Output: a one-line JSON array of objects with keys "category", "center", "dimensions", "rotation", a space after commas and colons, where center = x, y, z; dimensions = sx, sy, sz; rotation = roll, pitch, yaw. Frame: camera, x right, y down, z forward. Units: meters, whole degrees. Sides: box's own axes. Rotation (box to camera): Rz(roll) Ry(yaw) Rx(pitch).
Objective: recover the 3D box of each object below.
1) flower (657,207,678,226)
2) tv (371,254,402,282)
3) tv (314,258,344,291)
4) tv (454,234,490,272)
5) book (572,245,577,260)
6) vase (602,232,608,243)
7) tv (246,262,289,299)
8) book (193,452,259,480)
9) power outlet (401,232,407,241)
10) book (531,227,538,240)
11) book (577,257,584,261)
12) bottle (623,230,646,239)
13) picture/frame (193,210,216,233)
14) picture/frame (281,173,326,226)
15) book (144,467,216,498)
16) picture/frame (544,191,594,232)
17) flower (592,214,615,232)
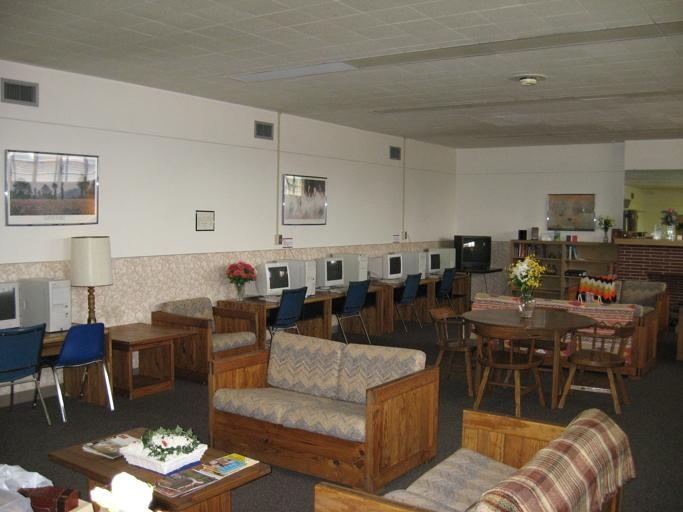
[{"category": "flower", "center": [7.087, -0.844, 10.584], "dimensions": [0.331, 0.383, 0.398], "rotation": [2, 4, 44]}, {"category": "tv", "center": [0.910, 0.229, 9.975], "dimensions": [0.606, 0.400, 0.526], "rotation": [1, 3, 39]}, {"category": "tv", "center": [-0.245, 0.332, 8.607], "dimensions": [0.339, 0.547, 0.626], "rotation": [0, 2, 39]}, {"category": "tv", "center": [3.213, -0.039, 11.973], "dimensions": [0.987, 0.763, 0.411], "rotation": [-1, 5, -10]}, {"category": "book", "center": [5.354, -0.072, 11.223], "dimensions": [0.119, 0.302, 0.353], "rotation": [-1, 3, 23]}, {"category": "vase", "center": [5.973, -0.435, 11.015], "dimensions": [0.080, 0.226, 0.163], "rotation": [1, 3, 27]}, {"category": "tv", "center": [-1.161, 0.322, 7.972], "dimensions": [0.569, 0.605, 0.808], "rotation": [2, 4, 32]}, {"category": "book", "center": [-0.771, 1.380, 3.181], "dimensions": [0.255, 0.027, 0.275], "rotation": [4, 3, 31]}, {"category": "power outlet", "center": [1.458, -0.463, 11.158], "dimensions": [0.169, 0.149, 0.160], "rotation": [-1, 5, -22]}, {"category": "book", "center": [4.703, -0.544, 11.755], "dimensions": [0.227, 0.276, 0.116], "rotation": [-2, 4, -26]}, {"category": "book", "center": [5.552, 0.066, 11.345], "dimensions": [0.140, 0.028, 0.128], "rotation": [3, 13, 34]}, {"category": "bottle", "center": [6.360, -0.449, 10.591], "dimensions": [0.391, 0.160, 0.736], "rotation": [0, 2, 28]}, {"category": "picture/frame", "center": [-2.082, -0.518, 7.321], "dimensions": [0.028, 0.294, 0.390], "rotation": [1, 5, 38]}, {"category": "picture/frame", "center": [-0.723, -1.021, 8.739], "dimensions": [0.047, 0.815, 1.165], "rotation": [0, 1, 40]}, {"category": "book", "center": [-0.967, 1.383, 2.982], "dimensions": [0.295, 0.016, 0.350], "rotation": [1, 3, 40]}, {"category": "picture/frame", "center": [5.418, -1.042, 11.489], "dimensions": [1.132, 0.818, 0.141], "rotation": [1, -1, 28]}, {"category": "flower", "center": [5.939, -0.750, 11.072], "dimensions": [0.396, 0.298, 0.375], "rotation": [4, 0, -42]}]
